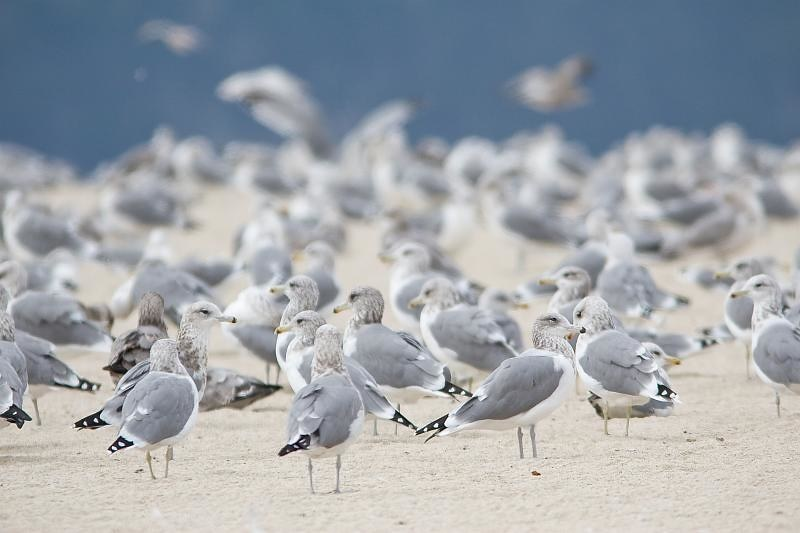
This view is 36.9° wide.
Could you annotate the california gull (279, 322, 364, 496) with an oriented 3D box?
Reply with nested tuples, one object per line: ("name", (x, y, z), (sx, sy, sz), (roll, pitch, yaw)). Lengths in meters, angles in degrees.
("california gull", (-1.104, 1.950, 16.721), (1.087, 2.369, 0.721), (6, -17, -20))

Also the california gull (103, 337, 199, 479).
("california gull", (-3.425, 1.932, 16.897), (1.097, 1.986, 0.544), (4, -16, -12))
